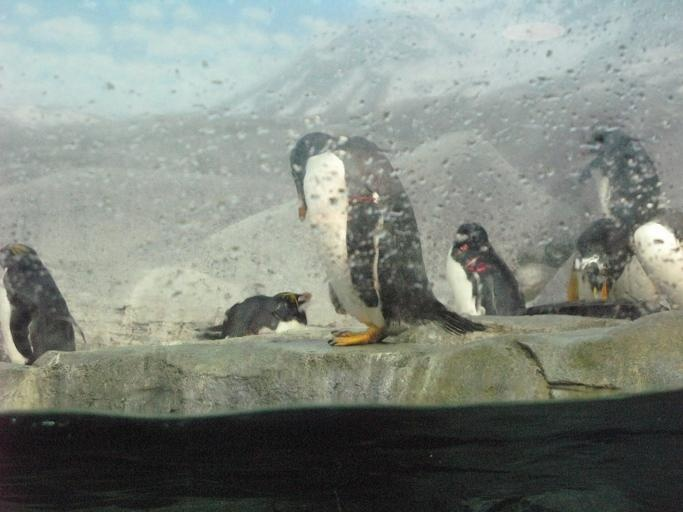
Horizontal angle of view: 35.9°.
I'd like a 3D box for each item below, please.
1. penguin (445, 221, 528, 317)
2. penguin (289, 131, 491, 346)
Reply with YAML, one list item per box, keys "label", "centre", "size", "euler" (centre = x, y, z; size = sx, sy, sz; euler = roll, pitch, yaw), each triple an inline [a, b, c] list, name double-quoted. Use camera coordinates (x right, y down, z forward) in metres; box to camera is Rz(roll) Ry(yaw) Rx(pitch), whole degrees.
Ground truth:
- label: "penguin"
  centre: [1.732, 0.141, 12.765]
  size: [0.800, 1.180, 0.719]
  euler: [-5, 4, 10]
- label: "penguin"
  centre: [0.498, -0.170, 11.138]
  size: [1.611, 2.133, 1.577]
  euler: [-3, -2, 15]
